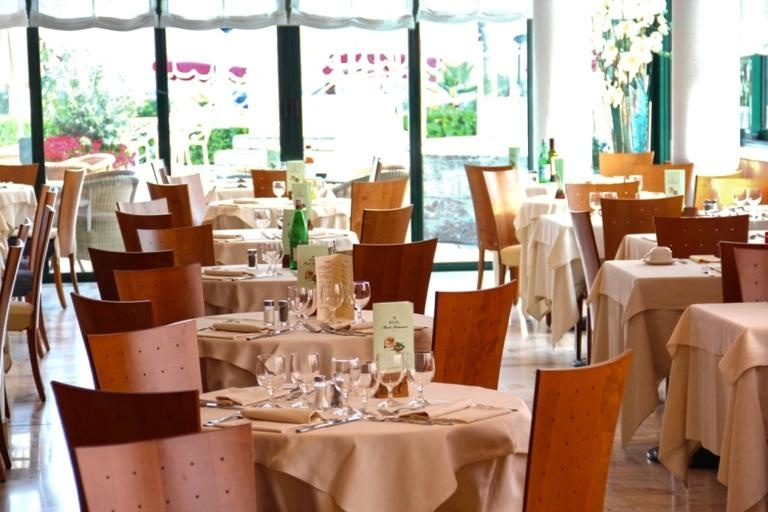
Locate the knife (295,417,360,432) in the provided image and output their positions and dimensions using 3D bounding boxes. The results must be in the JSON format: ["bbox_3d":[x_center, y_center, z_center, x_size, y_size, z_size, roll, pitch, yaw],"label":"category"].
[{"bbox_3d":[-0.189,0.553,2.280,0.154,0.008,0.027,-1,5,-43],"label":"knife"}]

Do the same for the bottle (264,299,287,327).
[{"bbox_3d":[-0.514,0.273,3.276,0.095,0.099,0.046,3,9,23],"label":"bottle"}]

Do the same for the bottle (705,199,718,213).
[{"bbox_3d":[2.673,-0.408,5.684,0.094,0.111,0.096,2,15,15],"label":"bottle"}]

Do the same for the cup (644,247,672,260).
[{"bbox_3d":[1.680,-0.011,4.243,0.121,0.077,0.096,-5,4,1],"label":"cup"}]
